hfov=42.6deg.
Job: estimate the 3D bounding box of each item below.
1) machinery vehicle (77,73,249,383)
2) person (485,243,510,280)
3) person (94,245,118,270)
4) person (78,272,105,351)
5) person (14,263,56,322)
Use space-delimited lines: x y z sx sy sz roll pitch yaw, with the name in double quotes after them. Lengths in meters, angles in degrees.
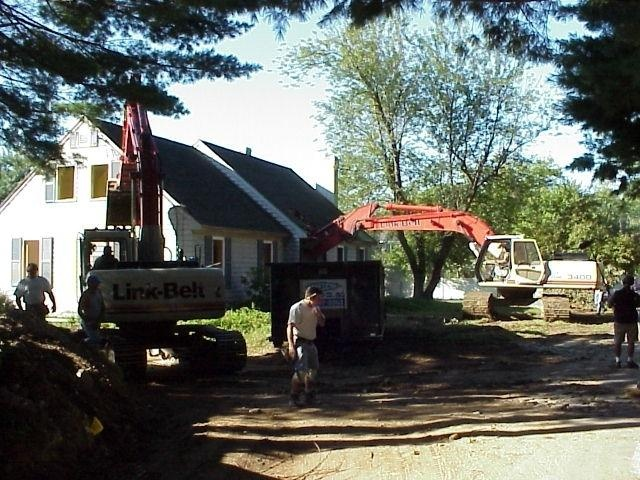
-3.576 -0.303 17.050 3.544 6.373 4.415 -3 -3 -7 "machinery vehicle"
5.331 0.613 24.740 0.734 1.134 0.495 1 3 17 "person"
-4.119 0.317 15.819 0.454 0.406 0.719 -1 3 -24 "person"
-4.320 1.321 15.515 0.446 1.469 1.342 -1 3 -17 "person"
-5.868 1.051 16.960 0.745 1.137 0.765 -1 3 -21 "person"
